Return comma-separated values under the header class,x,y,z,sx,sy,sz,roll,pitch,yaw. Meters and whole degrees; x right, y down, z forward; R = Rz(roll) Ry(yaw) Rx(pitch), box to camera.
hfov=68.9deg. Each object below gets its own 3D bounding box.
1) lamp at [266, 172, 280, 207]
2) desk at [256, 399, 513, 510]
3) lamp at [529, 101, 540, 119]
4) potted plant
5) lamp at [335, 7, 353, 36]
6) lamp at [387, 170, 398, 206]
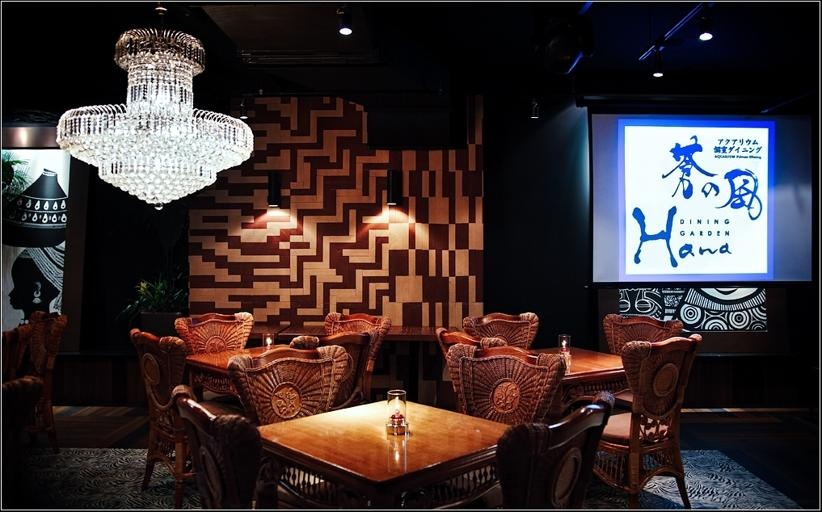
class,x,y,z,sx,sy,sz,roll,pitch,yaw
lamp,-1.814,-0.887,7.975,0.199,0.476,0.217,-2,11,-13
desk,-0.165,1.469,4.404,1.789,0.316,0.831,-2,10,-13
lamp,1.689,-1.965,8.027,0.131,0.248,0.221,2,11,11
potted plant,-3.617,0.642,8.330,0.948,1.033,0.938,0,-8,-1
lamp,-0.622,-2.267,5.802,0.219,0.257,0.208,-1,-1,0
lamp,-0.205,-0.918,7.890,0.190,0.432,0.110,-4,12,-21
